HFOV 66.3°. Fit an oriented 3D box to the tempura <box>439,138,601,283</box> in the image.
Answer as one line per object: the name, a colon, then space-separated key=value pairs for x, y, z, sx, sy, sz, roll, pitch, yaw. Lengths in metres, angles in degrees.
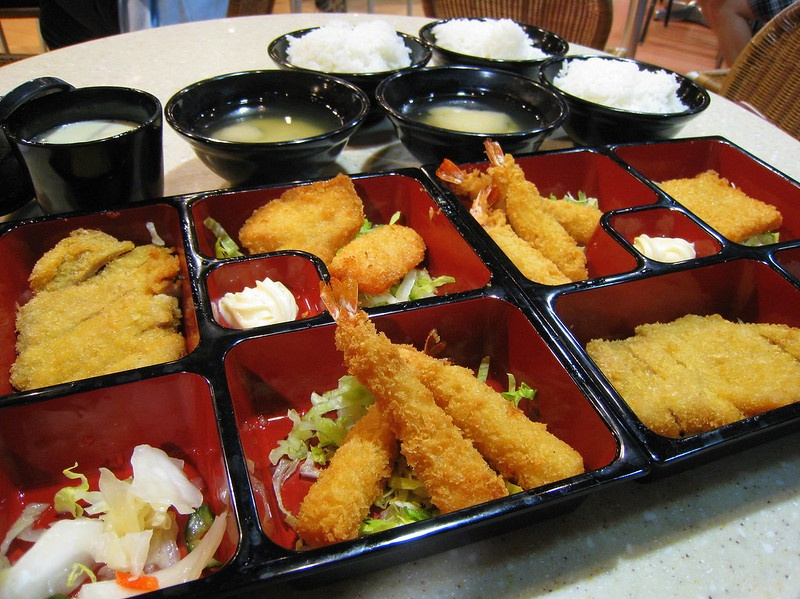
tempura: x=0.414 y=-0.313 z=2.694 sx=0.726 sy=0.233 sz=0.501 roll=34 pitch=64 yaw=7

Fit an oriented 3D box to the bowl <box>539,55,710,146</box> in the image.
bowl: x=0.993 y=-0.903 z=2.941 sx=0.667 sy=0.243 sz=0.622 roll=0 pitch=41 yaw=0

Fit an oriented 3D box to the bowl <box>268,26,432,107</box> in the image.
bowl: x=-0.168 y=-1.166 z=3.176 sx=0.726 sy=0.240 sz=0.652 roll=1 pitch=44 yaw=-1

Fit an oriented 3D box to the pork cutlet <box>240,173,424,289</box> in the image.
pork cutlet: x=-0.273 y=-0.261 z=2.277 sx=0.546 sy=0.142 sz=0.516 roll=-31 pitch=78 yaw=-31
